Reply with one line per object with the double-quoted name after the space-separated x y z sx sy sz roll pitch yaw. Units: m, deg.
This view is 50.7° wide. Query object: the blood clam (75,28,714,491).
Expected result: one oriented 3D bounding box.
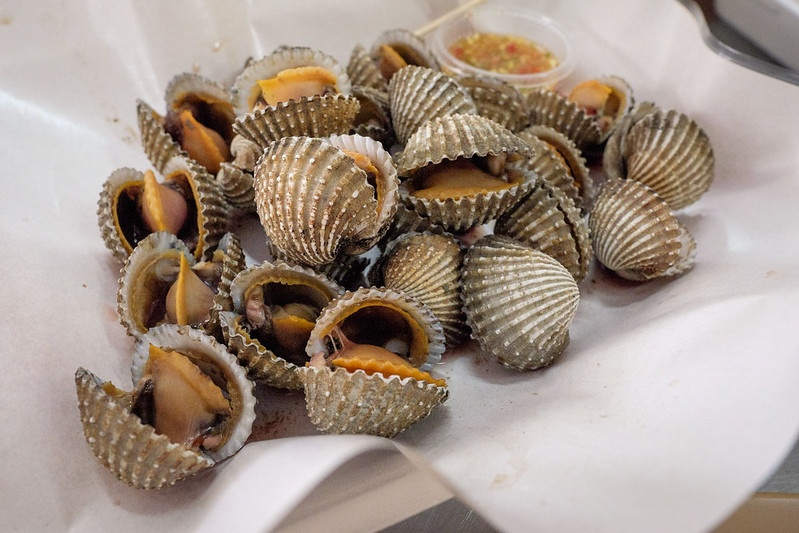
-0.047 0.053 1.907 1.093 1.094 0.800 -2 43 -1 "blood clam"
